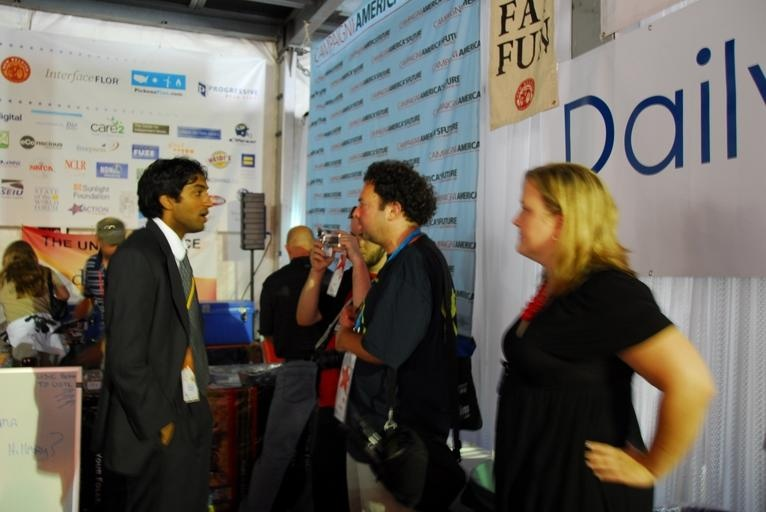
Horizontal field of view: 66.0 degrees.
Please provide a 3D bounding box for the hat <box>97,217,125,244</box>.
[{"bbox_3d":[-3.205,-0.292,6.892,0.319,0.190,0.505,-4,14,-24],"label":"hat"}]

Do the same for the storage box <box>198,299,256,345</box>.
[{"bbox_3d":[-1.937,0.851,7.073,0.832,0.408,0.864,-7,-11,12],"label":"storage box"}]
